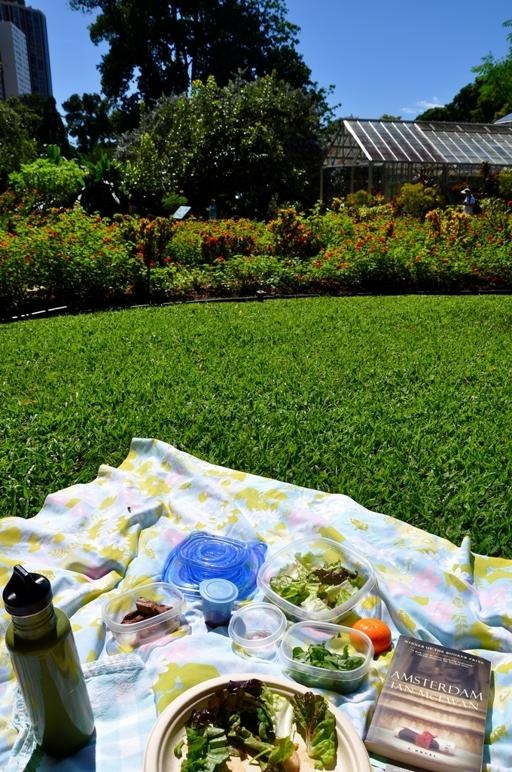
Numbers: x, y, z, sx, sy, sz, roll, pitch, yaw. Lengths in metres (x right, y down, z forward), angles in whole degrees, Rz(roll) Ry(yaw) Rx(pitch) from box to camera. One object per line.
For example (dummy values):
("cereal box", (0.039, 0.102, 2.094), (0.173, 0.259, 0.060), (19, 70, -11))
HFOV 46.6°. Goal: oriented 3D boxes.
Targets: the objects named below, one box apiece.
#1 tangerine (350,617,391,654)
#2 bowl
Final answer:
("tangerine", (0.333, 0.710, 1.720), (0.085, 0.083, 0.086), (4, 8, -2))
("bowl", (0.101, 0.664, 1.825), (0.510, 0.148, 0.375), (14, 28, 27))
